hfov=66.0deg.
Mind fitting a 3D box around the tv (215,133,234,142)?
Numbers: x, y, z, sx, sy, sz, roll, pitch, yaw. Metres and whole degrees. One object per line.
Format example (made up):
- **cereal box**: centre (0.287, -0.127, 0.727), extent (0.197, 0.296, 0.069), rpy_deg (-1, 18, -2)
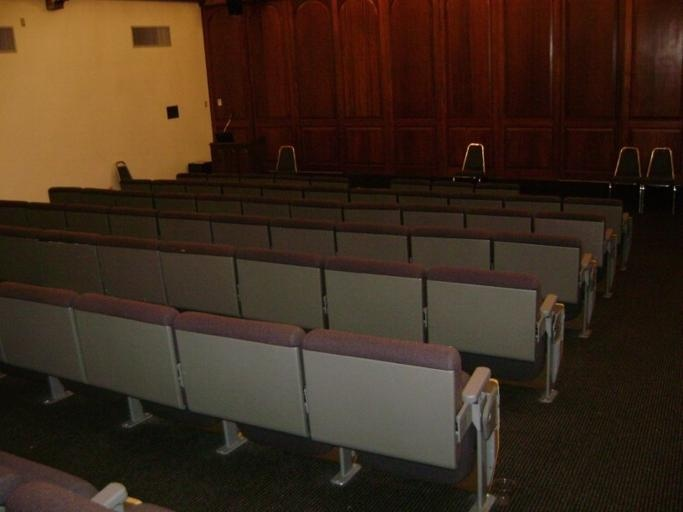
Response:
- **tv**: centre (-2.845, -2.881, 12.897), extent (0.453, 0.245, 0.304), rpy_deg (4, -1, -16)
